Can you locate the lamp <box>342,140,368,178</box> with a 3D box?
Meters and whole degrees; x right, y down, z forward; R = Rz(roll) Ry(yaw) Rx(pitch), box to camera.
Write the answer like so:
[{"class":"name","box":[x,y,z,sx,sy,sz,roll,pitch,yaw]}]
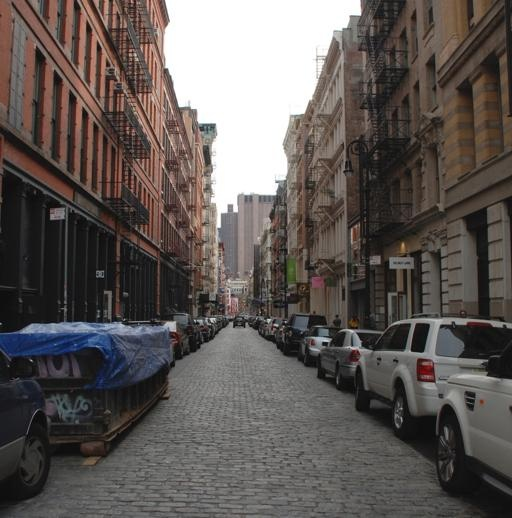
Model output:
[{"class":"lamp","box":[4.345,-4.519,24.456,0.910,2.354,0.641,4,-24,3]}]
